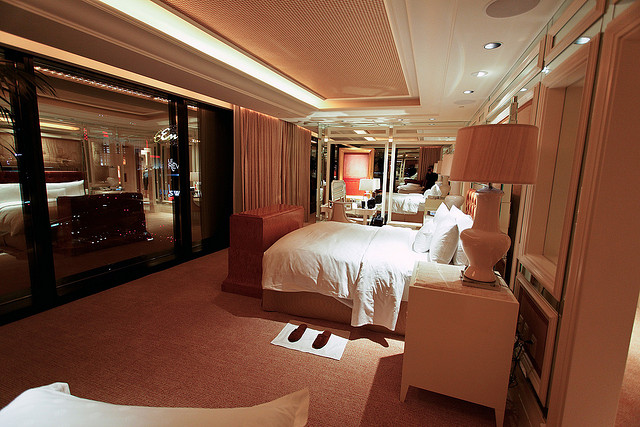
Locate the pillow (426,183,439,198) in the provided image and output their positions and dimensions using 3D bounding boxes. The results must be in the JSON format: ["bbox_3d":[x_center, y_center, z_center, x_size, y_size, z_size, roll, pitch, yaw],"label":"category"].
[{"bbox_3d":[2.480,-0.492,8.526,0.268,0.326,0.371,-4,-3,41],"label":"pillow"}]

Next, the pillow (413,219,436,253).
[{"bbox_3d":[1.228,0.273,4.568,0.122,0.202,0.356,10,19,24],"label":"pillow"}]

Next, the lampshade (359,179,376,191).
[{"bbox_3d":[0.980,-0.579,7.997,0.292,0.249,0.333,5,10,14],"label":"lampshade"}]

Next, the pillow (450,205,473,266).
[{"bbox_3d":[1.443,0.256,3.994,0.151,0.494,0.525,10,-5,16],"label":"pillow"}]

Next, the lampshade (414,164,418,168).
[{"bbox_3d":[3.282,-1.611,13.259,0.114,0.109,0.082,4,27,16],"label":"lampshade"}]

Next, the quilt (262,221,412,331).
[{"bbox_3d":[0.250,0.694,4.630,1.584,0.797,1.282,6,10,15],"label":"quilt"}]

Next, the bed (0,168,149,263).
[{"bbox_3d":[-2.920,0.006,4.611,0.940,0.910,1.019,4,11,19],"label":"bed"}]

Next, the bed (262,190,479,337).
[{"bbox_3d":[0.528,0.559,4.502,1.849,1.101,1.896,6,14,18],"label":"bed"}]

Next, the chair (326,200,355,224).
[{"bbox_3d":[0.422,-0.017,7.970,0.457,0.731,0.533,3,14,22],"label":"chair"}]

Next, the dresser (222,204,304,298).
[{"bbox_3d":[-0.686,0.403,5.392,0.662,0.944,1.583,5,11,14],"label":"dresser"}]

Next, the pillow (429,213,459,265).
[{"bbox_3d":[1.270,0.284,4.069,0.257,0.437,0.328,2,12,11],"label":"pillow"}]

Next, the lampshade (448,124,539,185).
[{"bbox_3d":[1.473,-0.456,3.275,0.753,0.476,0.741,0,3,-32],"label":"lampshade"}]
